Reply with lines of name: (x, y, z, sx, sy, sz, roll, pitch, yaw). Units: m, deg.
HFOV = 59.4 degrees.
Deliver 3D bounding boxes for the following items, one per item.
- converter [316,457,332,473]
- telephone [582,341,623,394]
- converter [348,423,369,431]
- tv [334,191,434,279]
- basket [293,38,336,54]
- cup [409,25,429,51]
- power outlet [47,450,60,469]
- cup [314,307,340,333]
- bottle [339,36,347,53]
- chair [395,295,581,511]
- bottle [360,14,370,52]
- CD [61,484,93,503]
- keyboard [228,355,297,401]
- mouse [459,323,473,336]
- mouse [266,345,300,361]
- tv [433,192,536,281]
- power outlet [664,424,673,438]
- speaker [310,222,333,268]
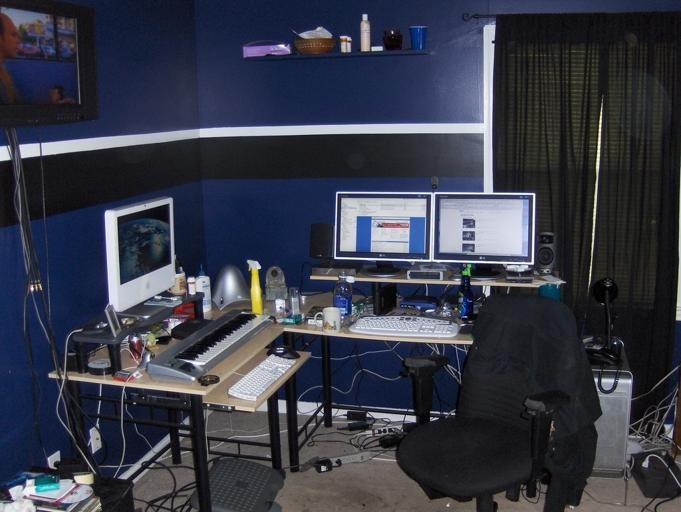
converter: (-0.106, 1.405, 4.027, 0.093, 0.065, 0.065, -3, 6, -17)
telephone: (1.706, 0.676, 3.874, 0.219, 0.380, 0.143, 1, -26, 26)
converter: (0.142, 1.277, 4.502, 0.117, 0.027, 0.064, -1, 9, 0)
tv: (0.305, -0.151, 4.057, 0.584, 0.507, 0.128, 1, 1, 8)
basket: (-0.179, -1.453, 4.156, 0.276, 0.122, 0.115, -1, 8, -2)
cup: (0.531, -1.489, 4.149, 0.167, 0.176, 0.168, -1, 9, 0)
power outlet: (-1.606, 1.135, 3.369, 0.022, 0.070, 0.102, 2, 9, 18)
cup: (-0.079, 0.394, 3.764, 0.156, 0.119, 0.101, -1, 5, 2)
bottle: (0.030, -1.471, 4.178, 0.050, 0.126, 0.138, -1, 8, -1)
chair: (0.810, 0.750, 3.133, 0.985, 1.059, 0.562, -3, 9, -17)
bottle: (0.178, -1.545, 4.155, 0.072, 0.285, 0.182, 0, 8, 2)
CD: (-1.268, 1.152, 2.899, 0.096, 0.037, 0.133, 2, 8, 14)
keyboard: (-0.435, 0.671, 3.315, 0.131, 0.040, 0.385, 6, 13, 14)
mouse: (0.792, 0.451, 3.727, 0.058, 0.020, 0.088, 5, 13, 22)
mouse: (-0.333, 0.578, 3.593, 0.123, 0.044, 0.088, 2, 8, 8)
tv: (0.962, -0.148, 3.941, 0.566, 0.438, 0.076, 2, 5, 11)
power outlet: (2.382, 1.253, 4.322, 0.065, 0.089, 0.049, -6, 10, -34)
speaker: (-0.128, -0.099, 4.255, 0.188, 0.239, 0.178, 4, -5, -23)
